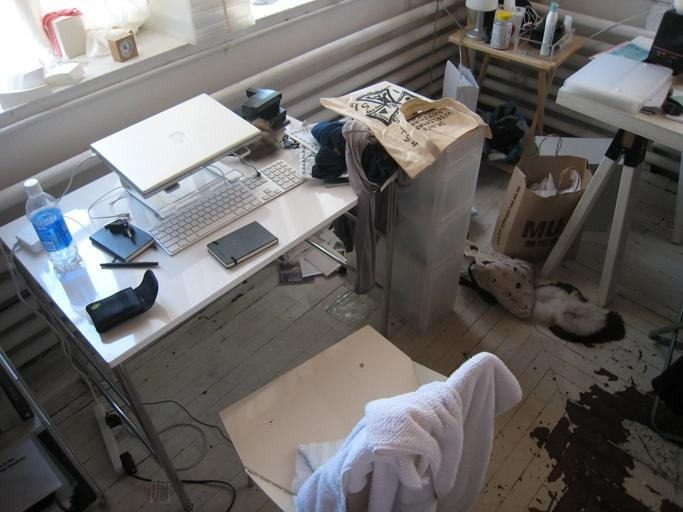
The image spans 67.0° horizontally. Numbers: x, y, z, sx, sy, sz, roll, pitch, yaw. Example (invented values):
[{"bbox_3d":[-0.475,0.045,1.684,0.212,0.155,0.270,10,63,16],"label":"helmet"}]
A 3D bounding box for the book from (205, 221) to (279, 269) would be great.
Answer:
[{"bbox_3d":[-0.364,-0.063,1.824,0.203,0.040,0.144,-28,52,-27],"label":"book"}]

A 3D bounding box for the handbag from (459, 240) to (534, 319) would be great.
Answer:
[{"bbox_3d":[0.838,0.122,2.701,0.364,0.191,0.374,29,51,1],"label":"handbag"}]

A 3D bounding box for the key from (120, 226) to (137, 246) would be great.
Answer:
[{"bbox_3d":[-0.775,-0.072,1.876,0.012,0.027,0.078,-36,55,-6],"label":"key"}]

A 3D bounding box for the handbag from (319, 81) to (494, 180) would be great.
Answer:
[{"bbox_3d":[0.237,-0.595,2.160,0.483,0.125,0.505,-32,68,-33],"label":"handbag"}]

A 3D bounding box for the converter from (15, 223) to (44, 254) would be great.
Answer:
[{"bbox_3d":[-1.124,-0.059,1.893,0.096,0.038,0.103,-30,67,-15],"label":"converter"}]

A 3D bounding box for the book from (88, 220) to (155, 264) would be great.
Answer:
[{"bbox_3d":[-0.796,-0.068,1.875,0.195,0.058,0.143,28,56,25],"label":"book"}]

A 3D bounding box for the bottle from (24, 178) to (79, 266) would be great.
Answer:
[{"bbox_3d":[-1.001,-0.105,1.769,0.114,0.263,0.196,-31,53,-22],"label":"bottle"}]

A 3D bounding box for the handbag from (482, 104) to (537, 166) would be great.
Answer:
[{"bbox_3d":[1.084,-0.802,3.391,0.467,0.495,0.191,-2,10,-2],"label":"handbag"}]
